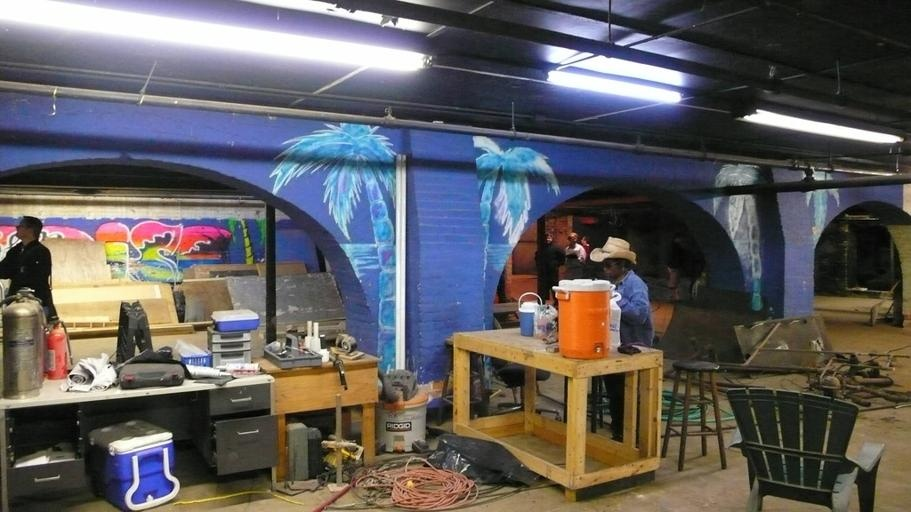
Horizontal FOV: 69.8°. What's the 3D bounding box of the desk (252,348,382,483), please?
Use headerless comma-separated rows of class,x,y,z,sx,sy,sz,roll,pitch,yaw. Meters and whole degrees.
desk,-1.515,2.311,9.253,1.808,1.385,1.143,-16,-24,22

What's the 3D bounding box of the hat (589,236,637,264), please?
hat,2.349,-0.057,9.593,0.639,0.228,0.464,5,-4,-10

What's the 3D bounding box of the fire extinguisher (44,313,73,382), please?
fire extinguisher,-5.120,1.208,8.391,0.261,0.757,0.188,1,0,-39

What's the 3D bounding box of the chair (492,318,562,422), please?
chair,1.083,1.804,10.529,1.305,1.528,1.189,-1,-6,29

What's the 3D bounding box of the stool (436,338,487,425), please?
stool,0.282,1.992,11.103,1.384,1.456,1.223,-1,2,0

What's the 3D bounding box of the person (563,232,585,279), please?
person,3.231,-0.013,17.668,0.473,1.216,1.278,0,-1,11
